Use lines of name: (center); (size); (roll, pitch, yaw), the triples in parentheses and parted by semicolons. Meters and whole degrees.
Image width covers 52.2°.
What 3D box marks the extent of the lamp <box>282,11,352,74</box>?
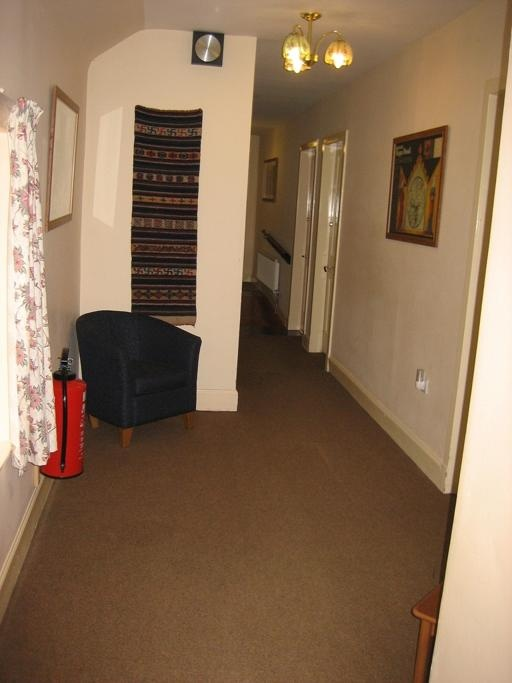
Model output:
lamp: (0.337, -1.647, 2.878); (0.334, 0.325, 0.347); (1, 16, 6)

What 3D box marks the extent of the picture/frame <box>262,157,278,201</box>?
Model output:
picture/frame: (0.140, -3.052, 9.897); (0.056, 0.770, 0.779); (14, 20, 33)

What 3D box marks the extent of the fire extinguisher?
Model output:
fire extinguisher: (-1.120, 0.444, 3.043); (0.278, 0.798, 0.202); (-4, 11, -38)

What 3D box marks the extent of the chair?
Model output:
chair: (-0.886, 0.150, 4.118); (0.822, 1.150, 0.922); (-5, 8, -43)
